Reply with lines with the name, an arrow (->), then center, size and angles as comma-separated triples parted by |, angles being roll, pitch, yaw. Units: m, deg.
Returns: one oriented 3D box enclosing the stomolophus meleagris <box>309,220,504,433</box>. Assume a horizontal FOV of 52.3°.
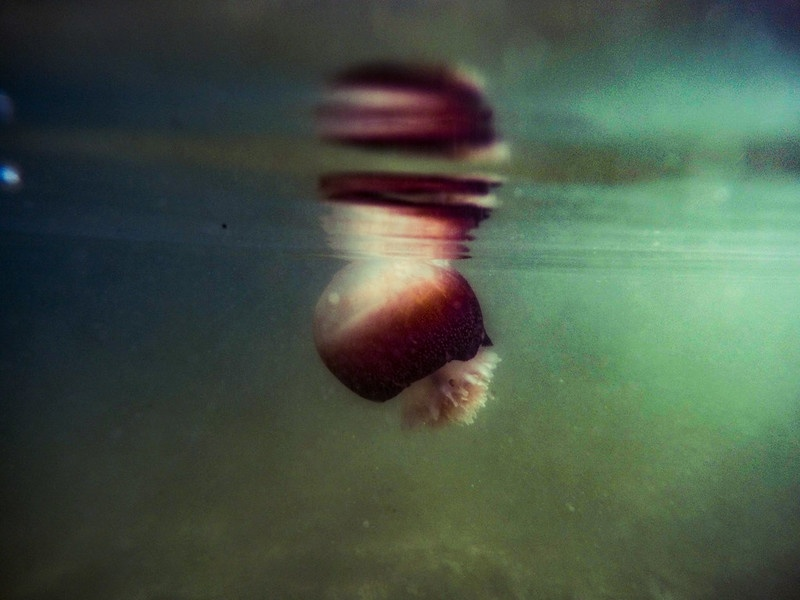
stomolophus meleagris -> 0.074, 0.297, 5.754 | 1.127, 1.249, 1.377 | -30, 90, -2
